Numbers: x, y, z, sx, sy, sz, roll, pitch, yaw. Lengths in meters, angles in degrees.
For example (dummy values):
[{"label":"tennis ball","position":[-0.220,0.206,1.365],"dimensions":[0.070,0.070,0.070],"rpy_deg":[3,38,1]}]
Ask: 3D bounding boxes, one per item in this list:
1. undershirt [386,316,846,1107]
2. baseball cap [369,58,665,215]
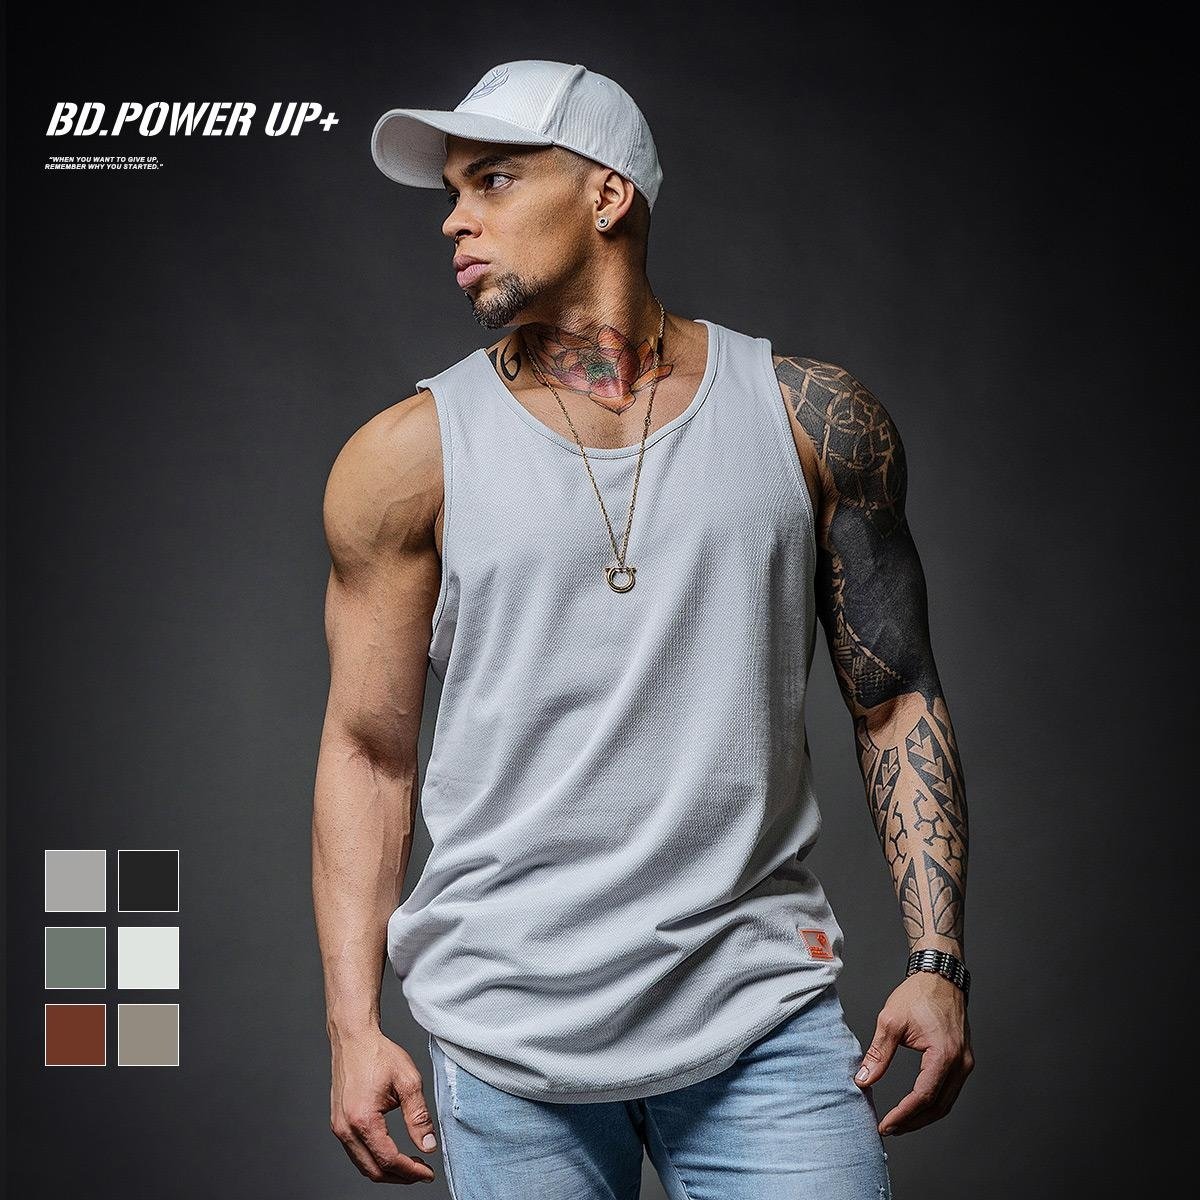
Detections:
[{"label":"undershirt","position":[0.028,0.124,2.416],"dimensions":[0.578,0.970,0.264],"rpy_deg":[1,1,-7]},{"label":"baseball cap","position":[-0.118,-0.621,2.503],"dimensions":[0.311,0.151,0.218],"rpy_deg":[4,0,-13]}]
